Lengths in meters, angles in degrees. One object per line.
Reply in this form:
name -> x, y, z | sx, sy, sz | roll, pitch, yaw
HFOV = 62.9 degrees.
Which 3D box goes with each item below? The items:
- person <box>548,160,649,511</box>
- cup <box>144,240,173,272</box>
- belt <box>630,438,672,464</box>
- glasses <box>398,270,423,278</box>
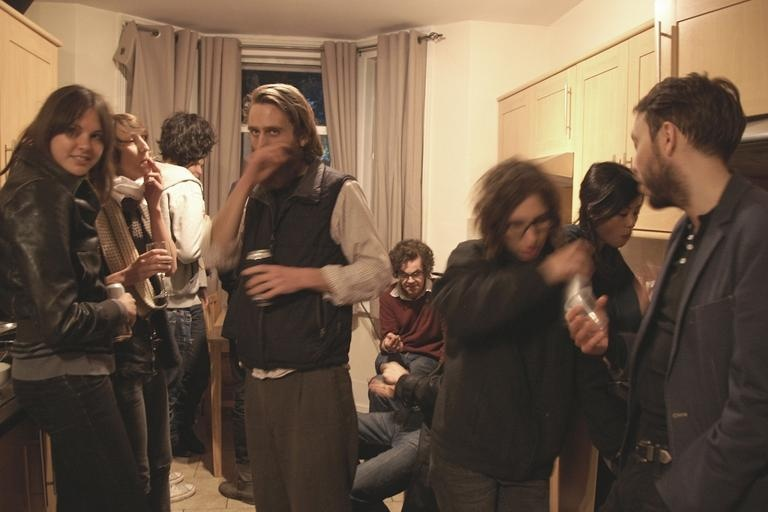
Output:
person -> 0.475, 0.198, 1.374 | 0.284, 0.801, 0.089 | -2, 8, -30
cup -> -0.653, -0.002, 1.852 | 0.087, 0.093, 0.084 | -2, 3, 0
belt -> 0.619, 0.463, 1.465 | 0.082, 0.050, 0.024 | 2, 0, 8
glasses -> 0.071, 0.046, 1.616 | 0.059, 0.024, 0.011 | 5, 8, 20
